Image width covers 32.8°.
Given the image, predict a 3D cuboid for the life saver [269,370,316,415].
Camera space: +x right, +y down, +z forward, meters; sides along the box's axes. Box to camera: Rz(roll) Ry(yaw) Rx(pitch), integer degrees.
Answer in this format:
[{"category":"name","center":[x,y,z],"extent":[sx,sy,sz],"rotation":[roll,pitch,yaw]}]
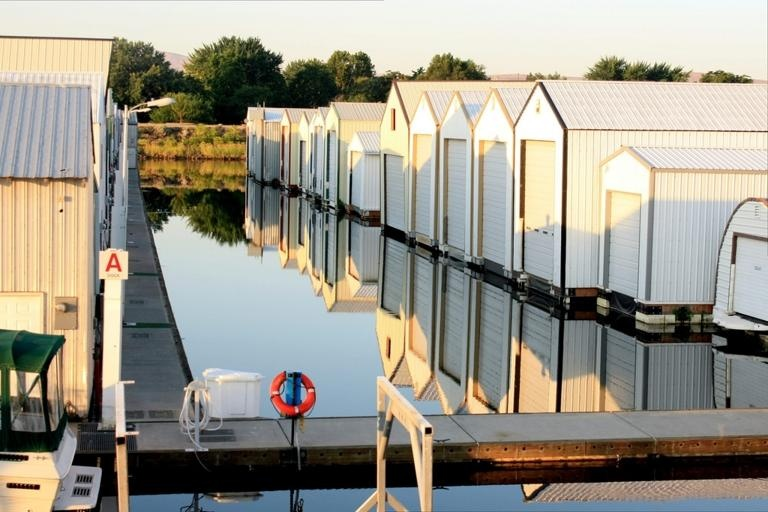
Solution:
[{"category":"life saver","center":[-1.811,2.732,25.906],"extent":[0.933,1.045,0.320],"rotation":[3,-16,-1]}]
